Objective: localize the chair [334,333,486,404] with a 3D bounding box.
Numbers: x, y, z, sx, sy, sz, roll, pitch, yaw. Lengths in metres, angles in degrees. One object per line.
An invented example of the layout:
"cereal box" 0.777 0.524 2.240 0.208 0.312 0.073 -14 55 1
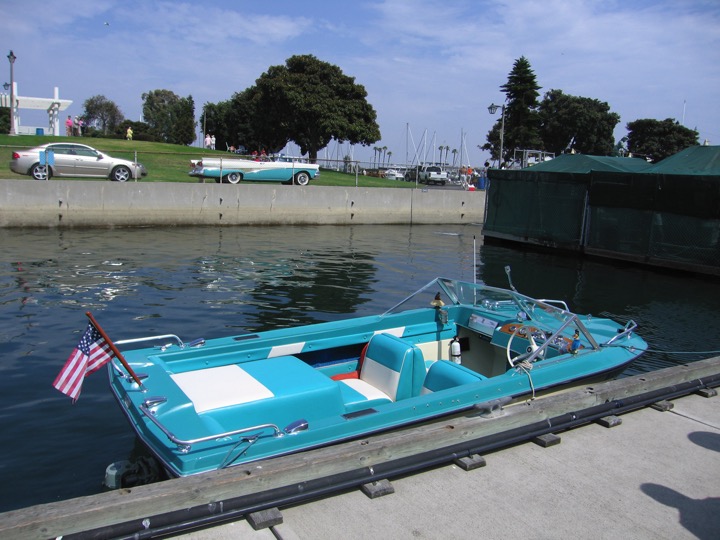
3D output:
"chair" 0.639 1.382 7.914 1.758 0.496 0.921 -5 9 -26

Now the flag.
"flag" -2.970 0.933 6.215 0.446 0.826 0.469 3 11 14

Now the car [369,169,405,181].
"car" 2.638 -9.550 57.401 2.925 0.871 1.898 -2 14 -17

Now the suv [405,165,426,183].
"suv" 5.275 -9.253 55.631 2.122 1.243 3.069 -1 11 -2

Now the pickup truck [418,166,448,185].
"pickup truck" 6.798 -8.820 53.615 2.121 1.678 2.424 -1 10 -8

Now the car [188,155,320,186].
"car" -5.700 -5.408 31.650 6.640 1.378 1.206 -5 12 -33

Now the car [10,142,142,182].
"car" -13.231 -5.123 27.858 5.920 1.447 2.305 -3 10 -28
